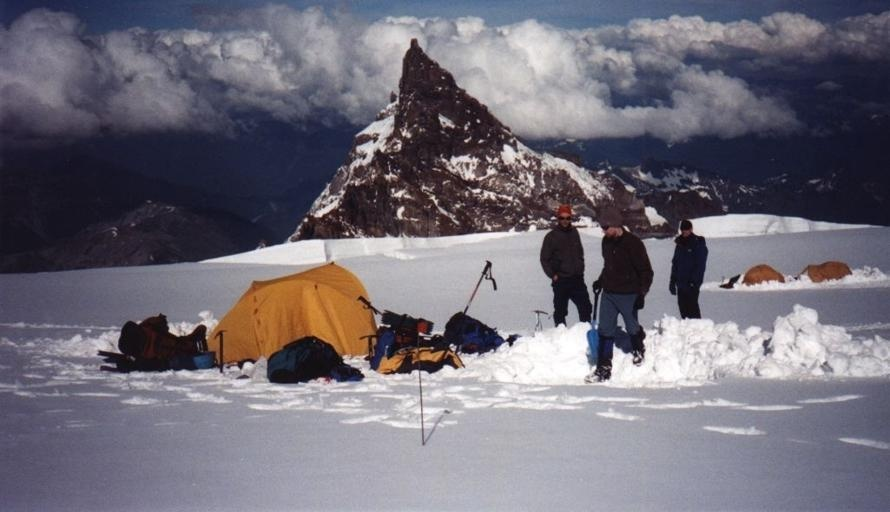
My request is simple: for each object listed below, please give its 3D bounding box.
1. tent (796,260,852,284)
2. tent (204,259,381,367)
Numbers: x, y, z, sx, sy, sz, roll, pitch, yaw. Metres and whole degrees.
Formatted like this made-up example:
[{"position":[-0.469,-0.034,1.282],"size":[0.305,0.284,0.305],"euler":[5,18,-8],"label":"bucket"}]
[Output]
[{"position":[48.525,1.939,126.355],"size":[4.630,1.553,3.449],"euler":[-13,12,6],"label":"tent"},{"position":[-16.603,6.758,119.517],"size":[13.953,6.161,12.587],"euler":[-6,-1,15],"label":"tent"}]
